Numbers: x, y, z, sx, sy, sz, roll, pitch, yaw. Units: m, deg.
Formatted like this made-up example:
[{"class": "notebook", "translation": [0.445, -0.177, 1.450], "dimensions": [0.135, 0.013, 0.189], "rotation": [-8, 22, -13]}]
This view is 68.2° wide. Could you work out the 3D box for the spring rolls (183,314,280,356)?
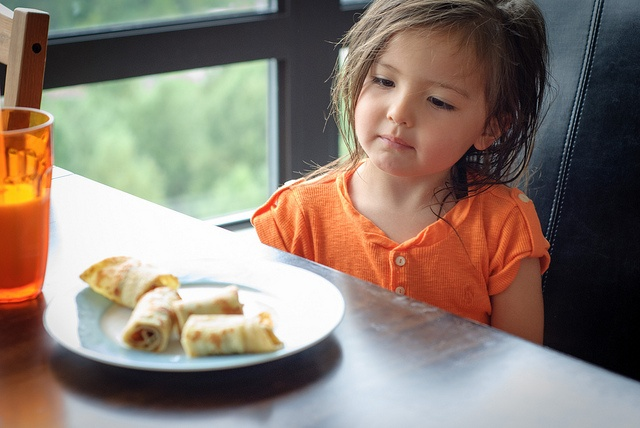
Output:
[{"class": "spring rolls", "translation": [-0.098, 0.114, 0.515], "dimensions": [0.081, 0.043, 0.091], "rotation": [-3, 4, -13]}]
